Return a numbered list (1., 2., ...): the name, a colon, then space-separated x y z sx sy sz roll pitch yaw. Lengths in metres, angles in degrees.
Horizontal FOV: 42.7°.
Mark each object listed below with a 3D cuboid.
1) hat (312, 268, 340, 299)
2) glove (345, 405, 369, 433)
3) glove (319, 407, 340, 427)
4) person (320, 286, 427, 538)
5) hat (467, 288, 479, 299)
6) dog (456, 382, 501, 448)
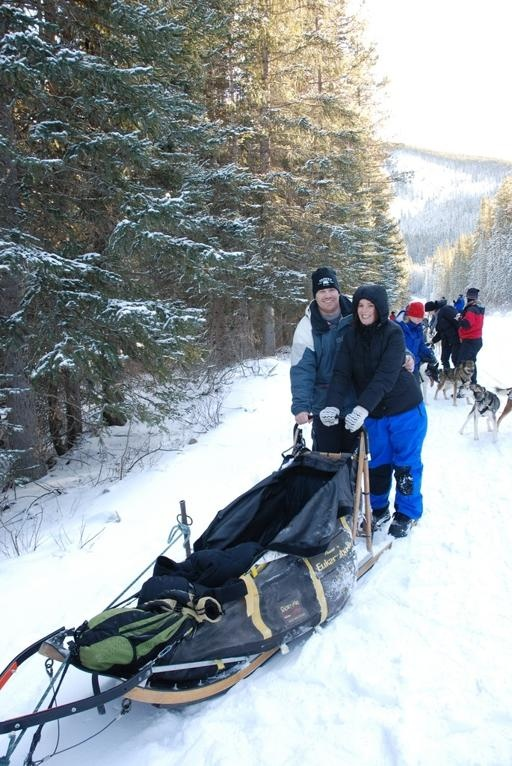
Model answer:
1. hat: 0.513 -0.747 4.895 0.193 0.217 0.202 -1 9 9
2. glove: 0.683 0.255 4.495 0.130 0.189 0.086 25 -17 48
3. glove: 0.519 0.257 4.639 0.138 0.164 0.267 -1 8 8
4. person: 0.885 0.270 4.973 0.550 1.994 1.094 5 11 39
5. hat: 3.227 -1.306 9.713 0.154 0.168 0.197 -6 17 9
6. dog: 2.712 0.379 7.828 0.302 0.531 0.988 -3 6 17
